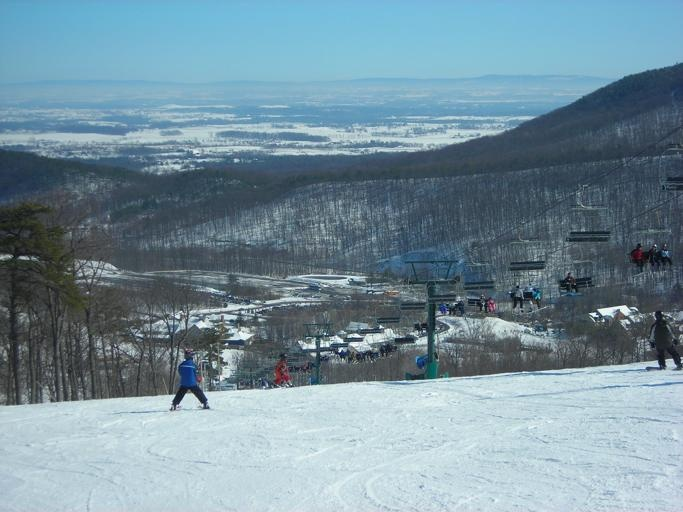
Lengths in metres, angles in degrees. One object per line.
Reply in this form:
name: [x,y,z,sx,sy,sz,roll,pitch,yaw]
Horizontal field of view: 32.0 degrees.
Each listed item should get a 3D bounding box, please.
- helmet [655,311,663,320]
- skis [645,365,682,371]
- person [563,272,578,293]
helmet: [19.539,3.648,73.047,0.449,0.496,0.545,2,9,15]
skis: [20.253,6.974,74.341,2.066,0.252,0.299,-1,8,-5]
person: [15.813,1.909,81.868,0.838,1.631,1.523,3,9,18]
